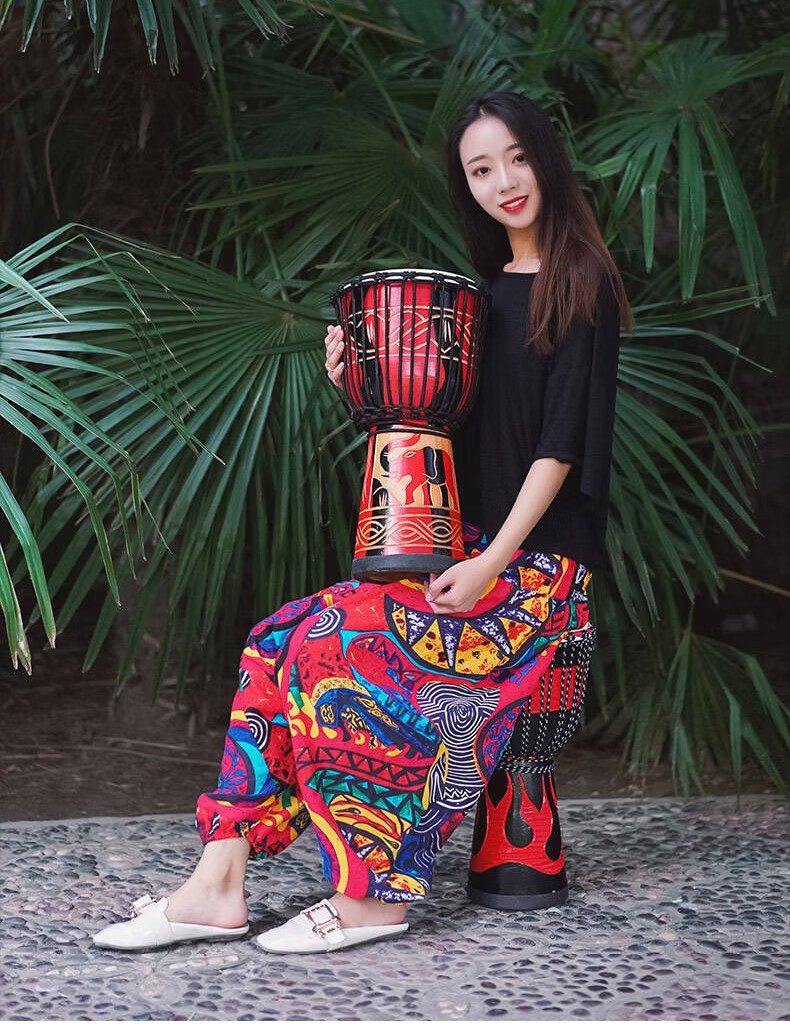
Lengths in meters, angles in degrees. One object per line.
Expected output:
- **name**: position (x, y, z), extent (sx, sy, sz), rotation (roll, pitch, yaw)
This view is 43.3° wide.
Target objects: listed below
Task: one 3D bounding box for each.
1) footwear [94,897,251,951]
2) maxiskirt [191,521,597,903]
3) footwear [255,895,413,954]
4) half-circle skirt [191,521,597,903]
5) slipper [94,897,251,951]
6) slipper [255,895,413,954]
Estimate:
- **footwear**: position (-0.278, 0.508, 1.252), extent (0.190, 0.053, 0.068), rotation (3, -15, -9)
- **maxiskirt**: position (-0.041, 0.267, 1.340), extent (0.633, 0.579, 0.246), rotation (-5, 23, 7)
- **footwear**: position (-0.086, 0.518, 1.249), extent (0.172, 0.042, 0.067), rotation (-2, 1, -25)
- **half-circle skirt**: position (-0.029, 0.280, 1.318), extent (0.533, 0.502, 0.227), rotation (-2, 13, -2)
- **slipper**: position (-0.278, 0.509, 1.253), extent (0.190, 0.053, 0.068), rotation (3, -15, -9)
- **slipper**: position (-0.086, 0.502, 1.254), extent (0.172, 0.042, 0.067), rotation (-2, 1, -25)
